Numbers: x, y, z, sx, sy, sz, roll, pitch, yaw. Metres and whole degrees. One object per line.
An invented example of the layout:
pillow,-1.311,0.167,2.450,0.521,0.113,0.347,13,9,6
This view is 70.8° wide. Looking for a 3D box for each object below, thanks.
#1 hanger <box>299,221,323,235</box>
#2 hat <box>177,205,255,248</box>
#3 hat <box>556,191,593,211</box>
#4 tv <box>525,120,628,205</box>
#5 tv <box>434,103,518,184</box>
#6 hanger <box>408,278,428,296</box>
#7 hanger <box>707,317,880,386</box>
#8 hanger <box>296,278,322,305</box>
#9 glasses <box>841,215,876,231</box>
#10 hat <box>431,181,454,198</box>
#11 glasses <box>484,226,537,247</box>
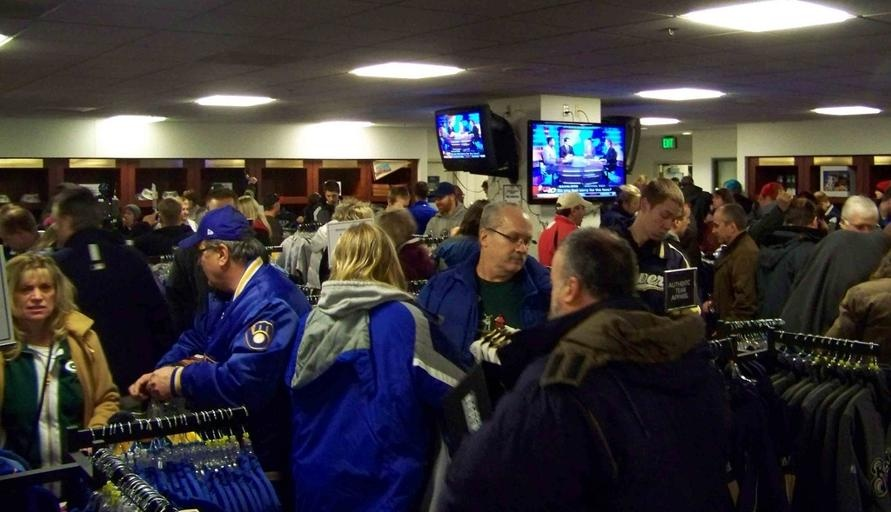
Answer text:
hanger,-1.799,-0.377,8.357,0.337,0.097,0.341,-3,-2,-7
hat,-1.377,-0.175,3.760,0.381,0.171,0.236,-3,3,-3
hat,1.592,-0.669,7.668,0.603,0.200,0.365,-1,4,-37
tv,2.003,-1.529,10.008,1.877,1.202,0.184,-2,3,-24
tv,0.468,-1.611,10.351,1.558,1.136,1.200,1,-6,35
hanger,-0.254,0.254,5.356,0.189,0.224,0.191,1,-11,-5
hanger,2.096,0.565,3.710,0.603,0.197,0.573,3,3,-1
hanger,-1.086,0.285,5.006,0.207,0.092,0.266,2,2,-12
glasses,3.629,-0.289,5.590,0.170,0.083,0.195,0,-1,0
hat,-0.057,-0.984,9.317,0.304,0.151,0.211,1,4,-17
glasses,0.399,-0.128,4.004,0.166,0.047,0.164,23,10,39
